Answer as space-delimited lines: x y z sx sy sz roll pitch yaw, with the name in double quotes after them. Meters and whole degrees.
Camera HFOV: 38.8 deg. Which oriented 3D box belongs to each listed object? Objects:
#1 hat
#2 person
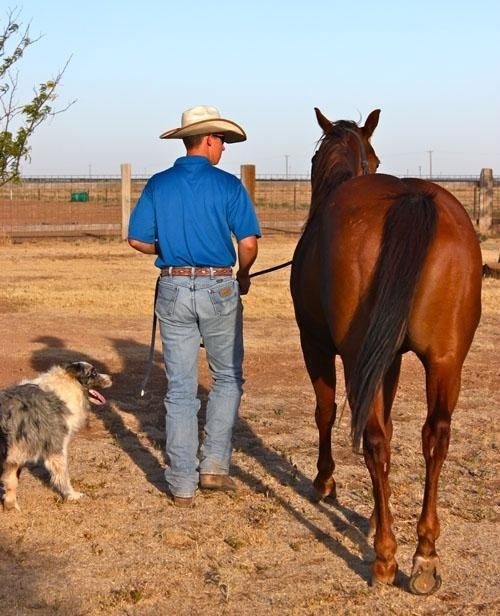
-0.247 -1.256 4.869 0.570 0.208 0.381 -6 12 -37 "hat"
-0.389 -0.016 4.860 0.872 2.662 0.675 0 11 -9 "person"
